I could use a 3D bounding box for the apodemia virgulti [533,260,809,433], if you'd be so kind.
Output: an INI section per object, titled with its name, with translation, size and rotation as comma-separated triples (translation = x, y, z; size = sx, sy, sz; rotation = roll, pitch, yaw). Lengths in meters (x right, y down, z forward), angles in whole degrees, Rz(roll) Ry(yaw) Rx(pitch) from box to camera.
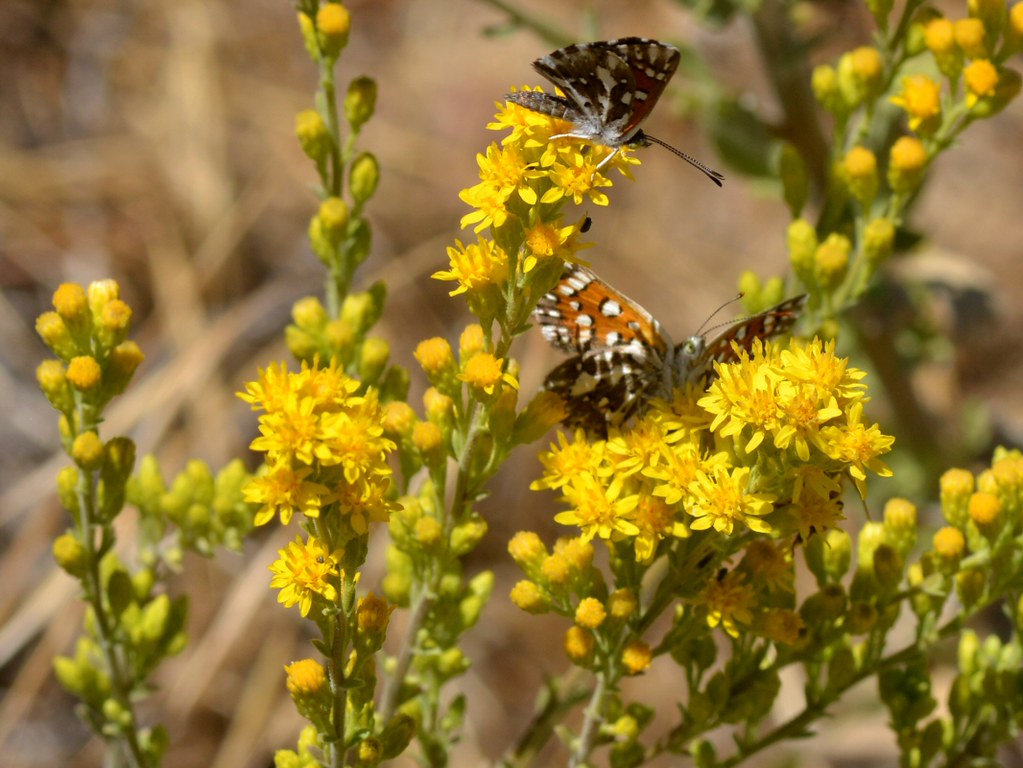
[apodemia virgulti]
translation = 0.352, -0.101, 3.951
size = 0.569, 0.307, 0.376
rotation = 0, -43, -21
